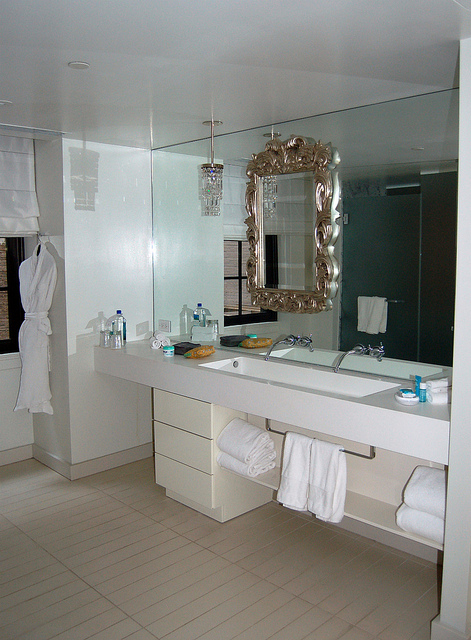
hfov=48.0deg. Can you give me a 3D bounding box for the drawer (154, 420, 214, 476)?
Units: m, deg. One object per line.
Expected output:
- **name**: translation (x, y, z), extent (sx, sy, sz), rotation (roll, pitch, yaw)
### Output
- **drawer**: translation (-0.274, 0.686, 2.888), extent (0.221, 0.140, 0.312), rotation (1, 3, -44)

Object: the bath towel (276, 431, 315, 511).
- **bath towel**: translation (0.265, 0.672, 2.379), extent (0.094, 0.329, 0.163), rotation (0, 14, -33)

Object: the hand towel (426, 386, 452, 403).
- **hand towel**: translation (0.791, 0.281, 2.024), extent (0.121, 0.057, 0.053), rotation (-2, 5, -23)

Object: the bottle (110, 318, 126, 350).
- **bottle**: translation (-0.761, 0.083, 3.438), extent (0.092, 0.184, 0.220), rotation (-1, 5, -13)

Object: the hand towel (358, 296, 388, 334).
- **hand towel**: translation (0.648, -0.030, 2.478), extent (0.076, 0.217, 0.171), rotation (0, 1, -44)

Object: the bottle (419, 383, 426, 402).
- **bottle**: translation (0.723, 0.276, 2.044), extent (0.028, 0.067, 0.054), rotation (1, 5, 20)

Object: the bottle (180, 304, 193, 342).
- **bottle**: translation (-0.330, 0.016, 3.538), extent (0.035, 0.248, 0.150), rotation (-3, 5, -29)

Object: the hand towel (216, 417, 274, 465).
- **hand towel**: translation (0.042, 0.595, 2.617), extent (0.192, 0.076, 0.195), rotation (18, 44, 41)

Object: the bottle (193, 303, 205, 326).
- **bottle**: translation (-0.236, -0.039, 3.424), extent (0.030, 0.140, 0.130), rotation (-3, 6, -29)
